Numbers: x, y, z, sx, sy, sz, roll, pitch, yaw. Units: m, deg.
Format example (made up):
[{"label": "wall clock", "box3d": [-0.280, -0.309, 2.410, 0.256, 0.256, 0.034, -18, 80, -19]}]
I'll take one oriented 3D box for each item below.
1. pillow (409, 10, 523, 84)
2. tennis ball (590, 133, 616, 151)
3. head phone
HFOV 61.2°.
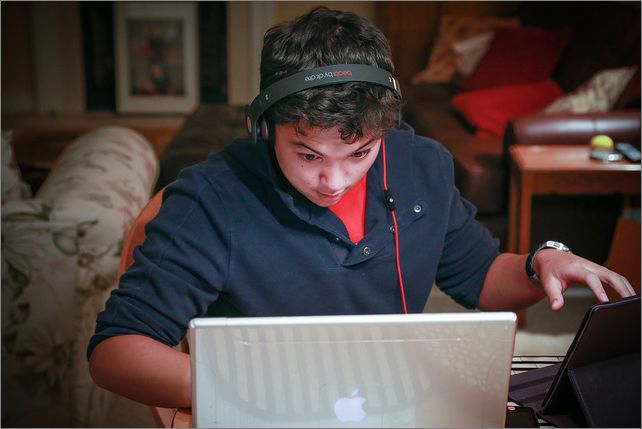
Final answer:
[{"label": "pillow", "box3d": [0.785, -1.013, 3.046, 0.554, 0.112, 0.579, 24, 35, 35]}, {"label": "tennis ball", "box3d": [1.157, -0.294, 2.228, 0.076, 0.066, 0.058, -4, 12, 38]}, {"label": "head phone", "box3d": [0.010, -0.212, 1.425, 0.427, 0.146, 0.334, -10, -12, -1]}]
